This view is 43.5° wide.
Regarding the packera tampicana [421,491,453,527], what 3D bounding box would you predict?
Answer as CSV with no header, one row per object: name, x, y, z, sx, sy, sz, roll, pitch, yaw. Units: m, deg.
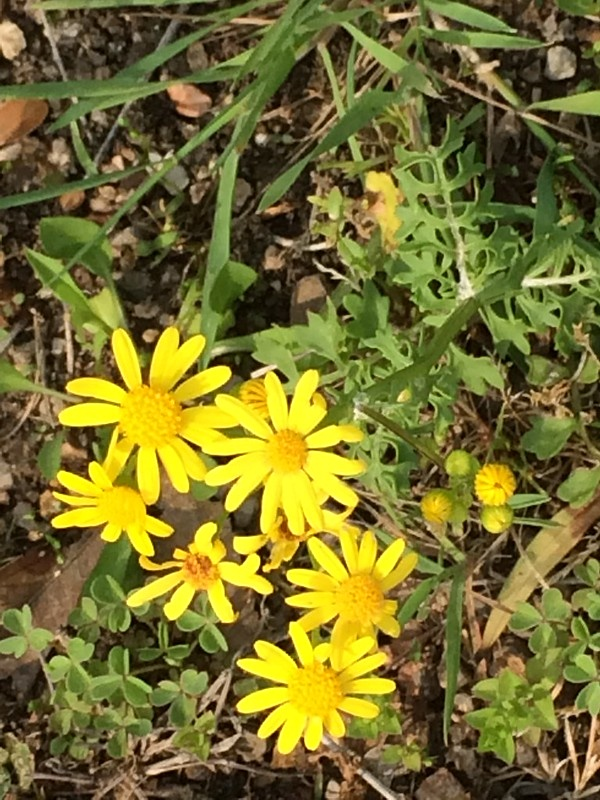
packera tampicana,0.376,0.290,2.051,0.105,0.048,0.096,-9,98,22

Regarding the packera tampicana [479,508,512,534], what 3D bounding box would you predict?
packera tampicana,0.514,0.319,2.017,0.076,0.088,0.076,-4,95,2

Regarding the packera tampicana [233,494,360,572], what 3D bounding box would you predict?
packera tampicana,-0.045,0.375,2.233,0.352,0.108,0.298,-1,22,46

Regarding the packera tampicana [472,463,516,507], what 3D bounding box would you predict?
packera tampicana,0.509,0.222,1.966,0.104,0.109,0.117,-4,57,-7

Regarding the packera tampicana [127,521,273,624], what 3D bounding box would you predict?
packera tampicana,-0.322,0.528,2.266,0.366,0.460,0.110,21,84,48
